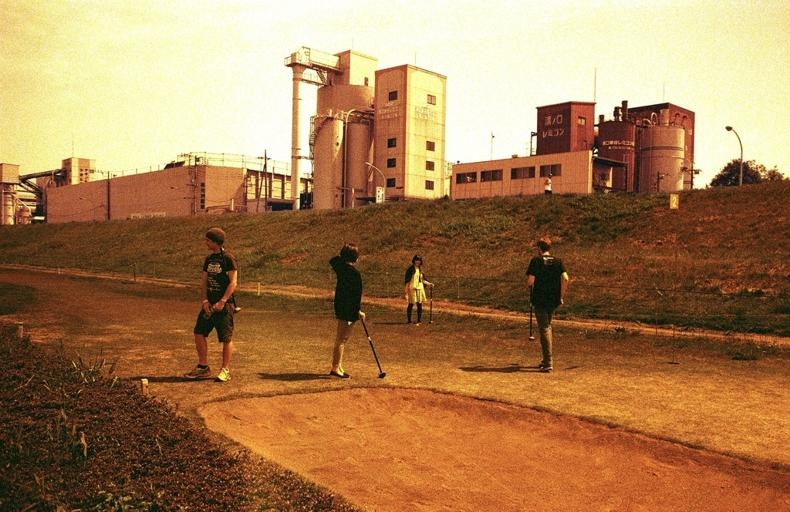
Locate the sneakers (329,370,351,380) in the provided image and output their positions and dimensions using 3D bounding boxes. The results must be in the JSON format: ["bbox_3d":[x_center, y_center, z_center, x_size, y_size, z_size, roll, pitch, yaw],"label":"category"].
[{"bbox_3d":[-1.719,3.757,29.475,0.648,0.285,0.247,5,4,6],"label":"sneakers"}]

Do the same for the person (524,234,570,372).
[{"bbox_3d":[4.914,1.647,30.443,1.182,4.217,0.873,-3,10,-25],"label":"person"}]
